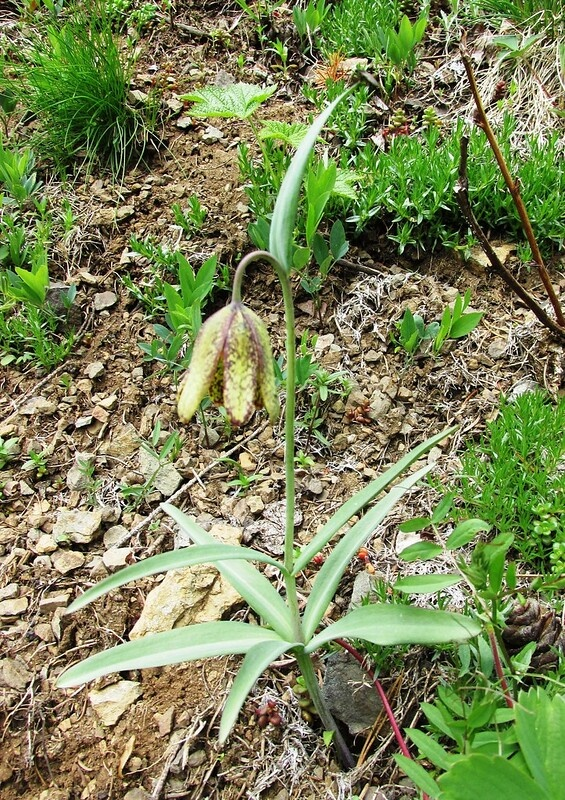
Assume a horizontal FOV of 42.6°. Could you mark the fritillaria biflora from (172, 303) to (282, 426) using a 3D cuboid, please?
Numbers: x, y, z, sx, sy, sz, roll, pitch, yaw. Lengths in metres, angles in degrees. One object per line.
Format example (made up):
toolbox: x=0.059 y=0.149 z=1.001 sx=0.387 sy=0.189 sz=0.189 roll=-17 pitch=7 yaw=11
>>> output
fritillaria biflora: x=-0.093 y=-0.041 z=1.331 sx=0.201 sy=0.233 sz=0.213 roll=-8 pitch=-11 yaw=41
